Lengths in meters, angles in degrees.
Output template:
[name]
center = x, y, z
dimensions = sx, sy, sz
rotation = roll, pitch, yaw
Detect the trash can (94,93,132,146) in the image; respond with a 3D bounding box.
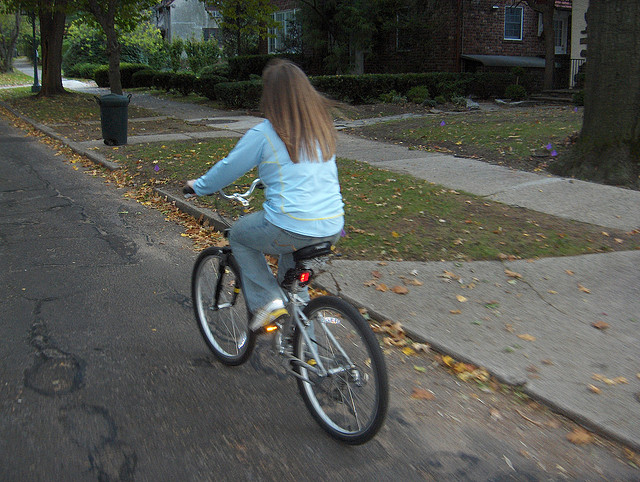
[trash can]
center = -6.226, -3.623, 13.871
dimensions = 0.778, 1.499, 0.400
rotation = -4, 17, -24

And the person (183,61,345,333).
[person]
center = -0.293, -0.204, 3.100
dimensions = 0.923, 1.919, 0.413
rotation = 9, 17, 18

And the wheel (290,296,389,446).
[wheel]
center = 0.095, 0.871, 2.958
dimensions = 0.276, 0.763, 0.788
rotation = -14, 27, -39
